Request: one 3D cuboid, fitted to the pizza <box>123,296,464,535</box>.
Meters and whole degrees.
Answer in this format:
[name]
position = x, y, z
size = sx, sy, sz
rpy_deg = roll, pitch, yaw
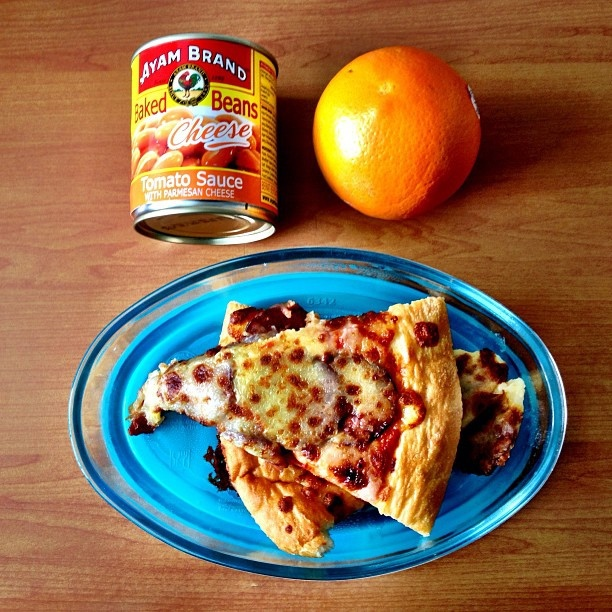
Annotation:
[pizza]
position = 0.104, 0.168, 1.697
size = 0.690, 0.189, 0.497
rpy_deg = 27, 76, 6
